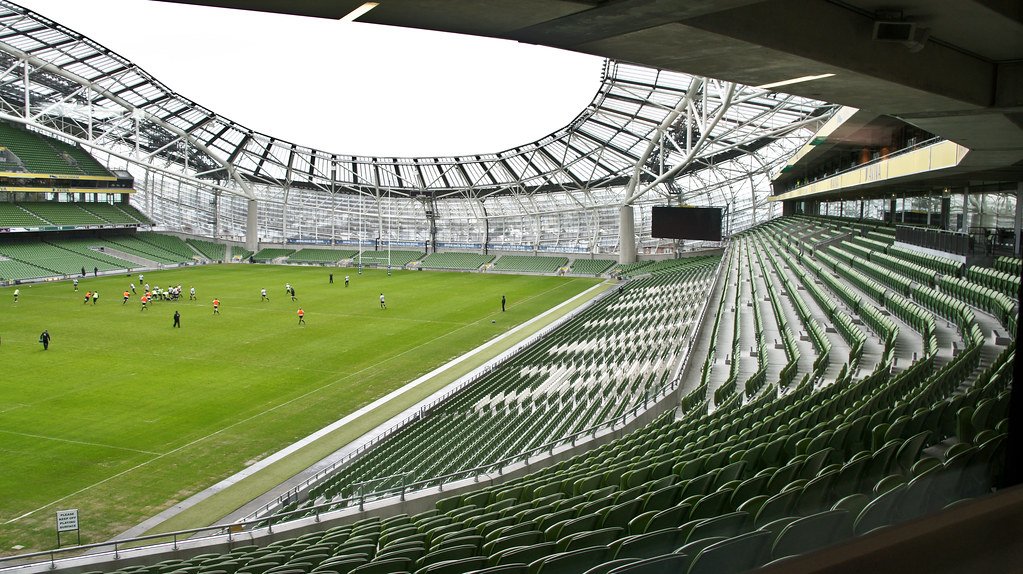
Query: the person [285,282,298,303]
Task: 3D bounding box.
[{"bbox_3d":[-15.676,0.425,46.688,0.780,1.352,0.940,-4,-15,-35],"label":"person"}]
